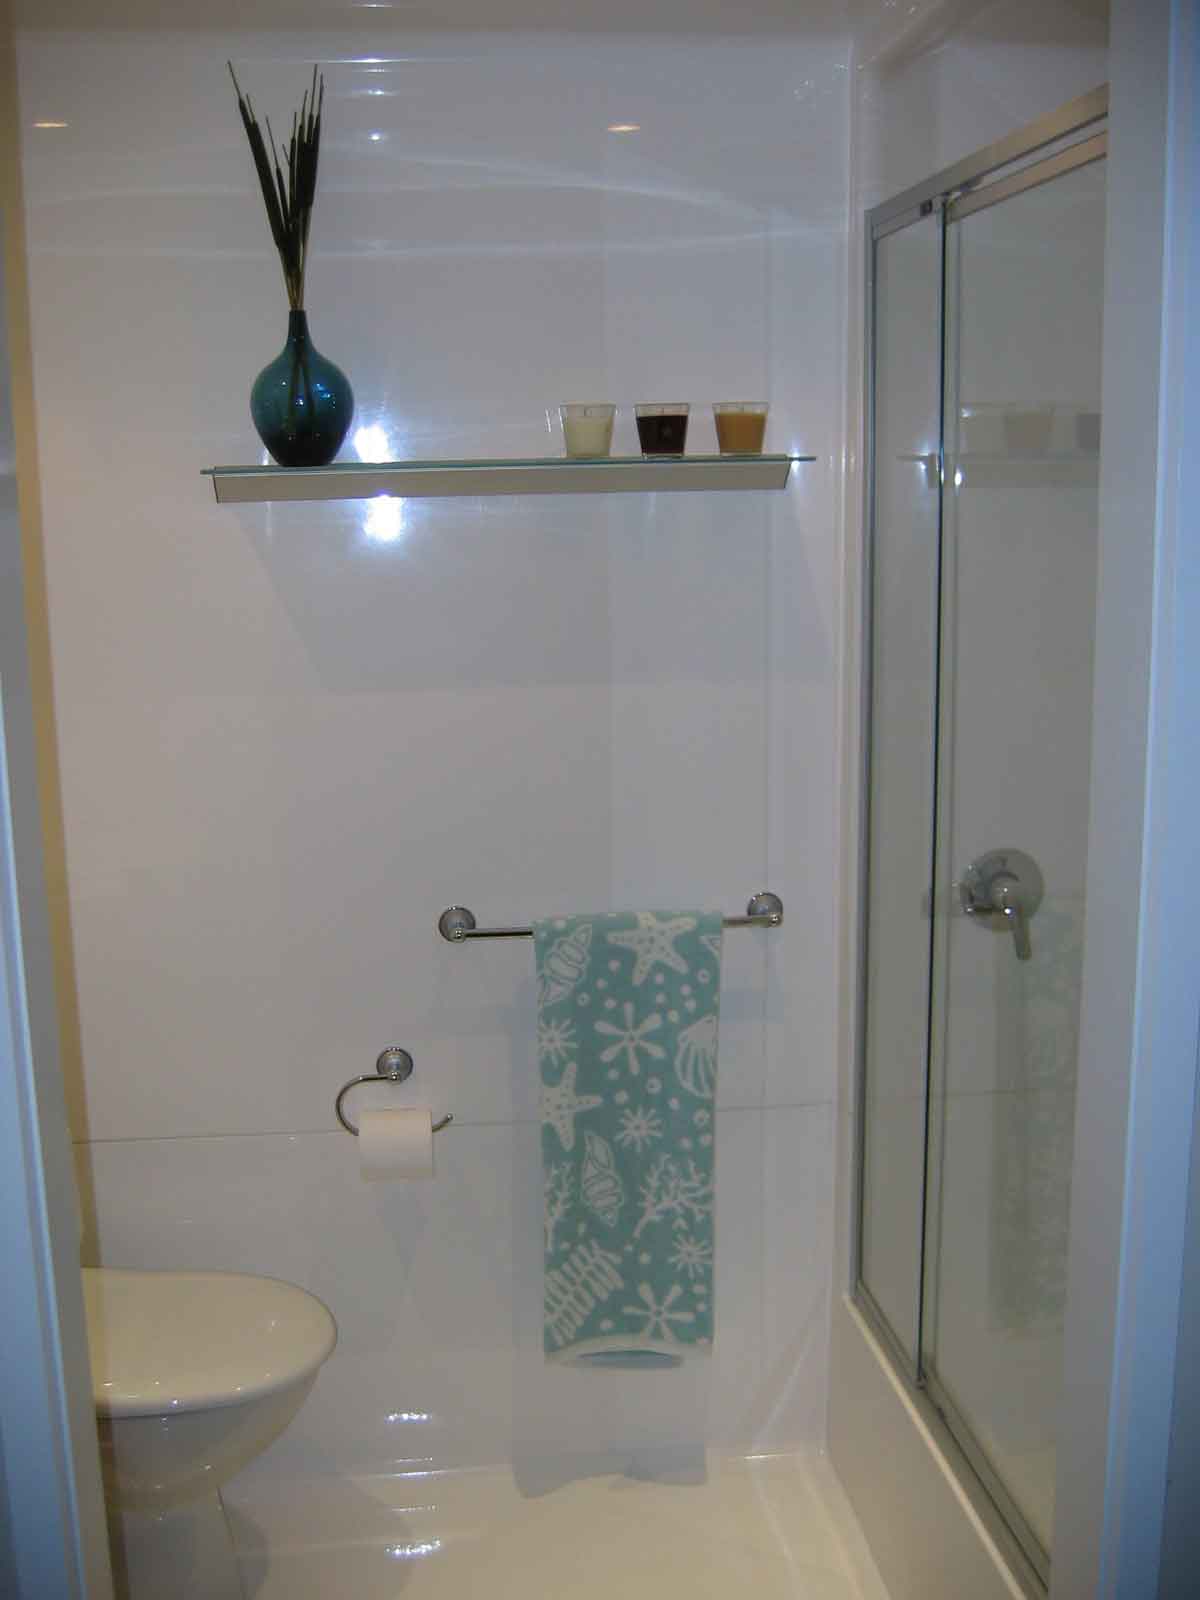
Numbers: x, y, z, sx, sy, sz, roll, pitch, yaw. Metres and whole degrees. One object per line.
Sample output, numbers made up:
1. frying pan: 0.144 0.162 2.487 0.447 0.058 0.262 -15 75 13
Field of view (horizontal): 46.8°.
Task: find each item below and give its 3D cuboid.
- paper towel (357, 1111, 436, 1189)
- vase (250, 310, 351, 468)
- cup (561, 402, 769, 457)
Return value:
1. paper towel: -0.273 0.466 1.855 0.093 0.103 0.080 2 -30 -2
2. vase: -0.370 -0.504 1.701 0.104 0.195 0.113 -2 7 -21
3. cup: 0.072 -0.466 1.756 0.251 0.068 0.131 -3 9 -11
